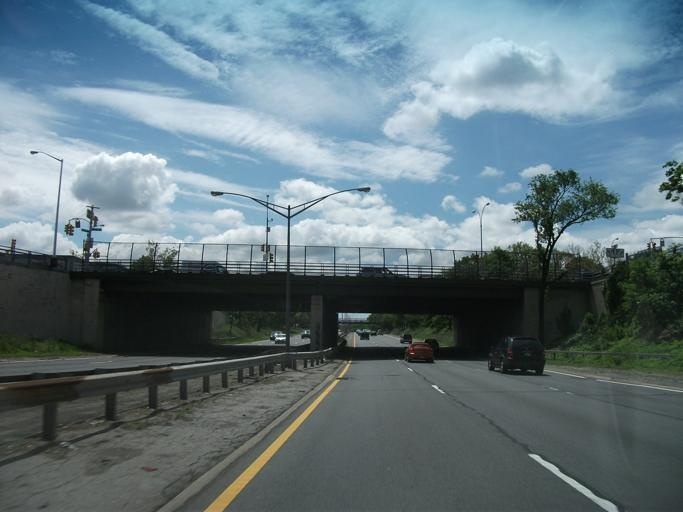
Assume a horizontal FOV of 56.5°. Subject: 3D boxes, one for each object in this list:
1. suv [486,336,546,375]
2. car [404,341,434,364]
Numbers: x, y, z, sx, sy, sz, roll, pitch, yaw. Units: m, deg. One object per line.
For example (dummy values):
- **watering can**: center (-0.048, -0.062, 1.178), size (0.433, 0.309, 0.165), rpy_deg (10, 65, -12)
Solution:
- **suv**: center (8.405, 4.719, 30.390), size (1.814, 1.826, 2.265), rpy_deg (2, -1, -9)
- **car**: center (5.059, 6.245, 41.045), size (1.808, 1.334, 1.456), rpy_deg (1, -2, 33)
